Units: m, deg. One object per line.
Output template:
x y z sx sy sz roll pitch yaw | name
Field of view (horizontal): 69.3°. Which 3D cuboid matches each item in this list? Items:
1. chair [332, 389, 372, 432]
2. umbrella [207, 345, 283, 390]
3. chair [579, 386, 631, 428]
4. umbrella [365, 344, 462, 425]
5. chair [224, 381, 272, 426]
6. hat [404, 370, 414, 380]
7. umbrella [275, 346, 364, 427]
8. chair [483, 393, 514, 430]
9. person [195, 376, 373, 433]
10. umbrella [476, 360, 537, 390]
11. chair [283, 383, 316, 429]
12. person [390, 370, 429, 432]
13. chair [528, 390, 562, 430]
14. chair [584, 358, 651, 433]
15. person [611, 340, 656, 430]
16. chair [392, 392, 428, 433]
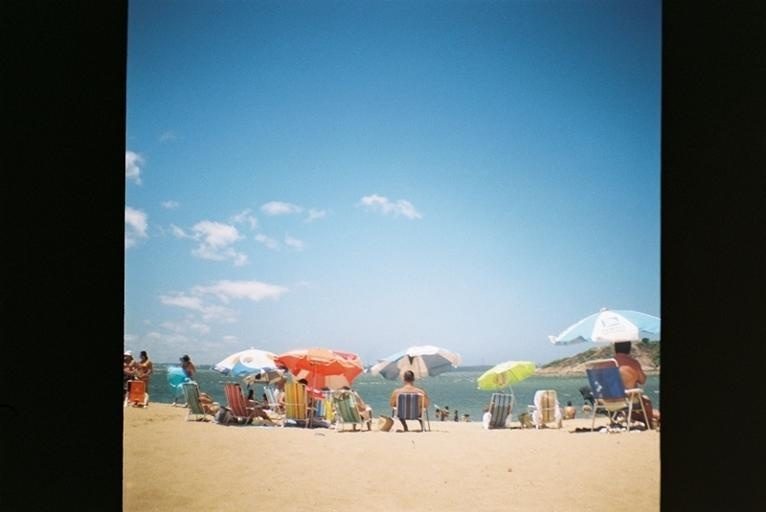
-0.453 2.278 8.221 0.488 0.429 0.744 -9 -28 25 | chair
-2.470 1.980 10.490 1.311 0.511 1.248 -1 -6 -25 | umbrella
3.088 1.978 7.695 0.623 0.742 0.537 -4 -5 40 | chair
0.430 2.096 9.691 1.395 1.446 1.439 -18 -30 28 | umbrella
-2.040 2.257 8.438 0.709 0.590 0.572 -2 -1 22 | chair
0.396 1.812 8.422 0.155 0.182 0.181 2 1 -1 | hat
-1.056 2.085 8.885 1.061 1.035 1.194 -13 -25 28 | umbrella
1.733 2.337 8.398 0.378 0.622 0.415 5 10 6 | chair
-1.386 2.325 8.881 1.151 0.655 1.919 -3 -18 14 | person
2.228 2.151 10.008 0.958 0.583 0.474 2 5 13 | umbrella
-1.264 2.279 8.505 0.518 0.699 0.545 -1 0 26 | chair
0.373 2.153 8.305 0.524 1.002 0.544 -4 13 -13 | person
2.533 2.419 8.772 0.562 0.722 0.616 0 -19 0 | chair
3.226 1.939 7.638 0.751 1.000 0.640 10 -16 -43 | chair
3.582 1.765 7.922 0.564 0.946 1.485 3 5 23 | person
0.396 2.313 8.266 0.452 0.737 0.501 1 5 2 | chair
